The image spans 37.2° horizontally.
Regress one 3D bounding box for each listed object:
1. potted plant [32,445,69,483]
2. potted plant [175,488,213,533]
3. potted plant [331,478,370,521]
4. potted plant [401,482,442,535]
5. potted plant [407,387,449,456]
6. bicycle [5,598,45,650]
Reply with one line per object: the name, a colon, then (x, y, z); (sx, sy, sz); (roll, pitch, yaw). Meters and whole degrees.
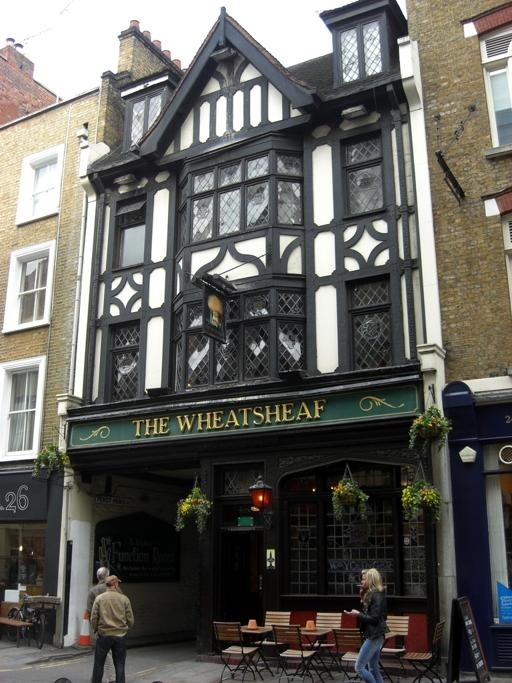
potted plant: (-4.276, 2.544, 15.856); (0.750, 0.511, 0.755); (-4, -5, 25)
potted plant: (-1.137, 3.036, 13.703); (0.485, 0.837, 0.663); (3, -17, -26)
potted plant: (1.496, 2.539, 12.051); (0.737, 0.768, 0.678); (-2, -25, 12)
potted plant: (2.435, 2.380, 11.105); (0.626, 0.640, 0.649); (-4, -10, 24)
potted plant: (2.525, 1.212, 11.392); (0.710, 0.889, 0.739); (-12, -30, 31)
bicycle: (-4.581, 5.669, 15.171); (1.004, 0.590, 0.339); (-23, -36, 37)
